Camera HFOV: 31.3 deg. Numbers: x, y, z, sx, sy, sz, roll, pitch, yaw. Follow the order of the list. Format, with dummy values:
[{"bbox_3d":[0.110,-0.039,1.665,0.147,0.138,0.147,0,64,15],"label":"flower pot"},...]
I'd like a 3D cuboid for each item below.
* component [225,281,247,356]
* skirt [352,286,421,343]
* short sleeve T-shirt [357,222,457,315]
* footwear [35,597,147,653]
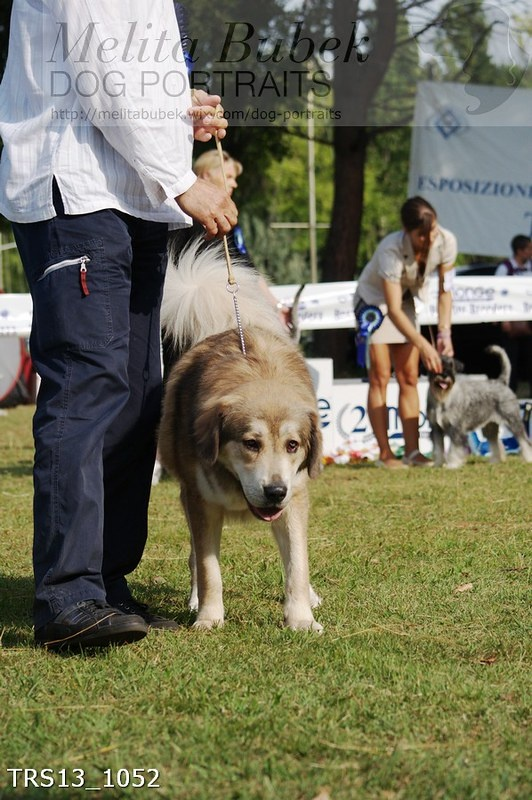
[{"bbox_3d":[-0.102,-0.300,3.424,0.062,0.320,0.024,0,14,37],"label":"component"},{"bbox_3d":[0.774,-0.644,7.218,0.441,0.388,0.309,-22,27,-39],"label":"skirt"},{"bbox_3d":[1.013,-0.967,6.948,0.696,0.585,0.549,1,11,4],"label":"short sleeve T-shirt"},{"bbox_3d":[-0.496,0.669,2.834,0.375,0.163,0.137,-6,-9,10],"label":"footwear"}]
